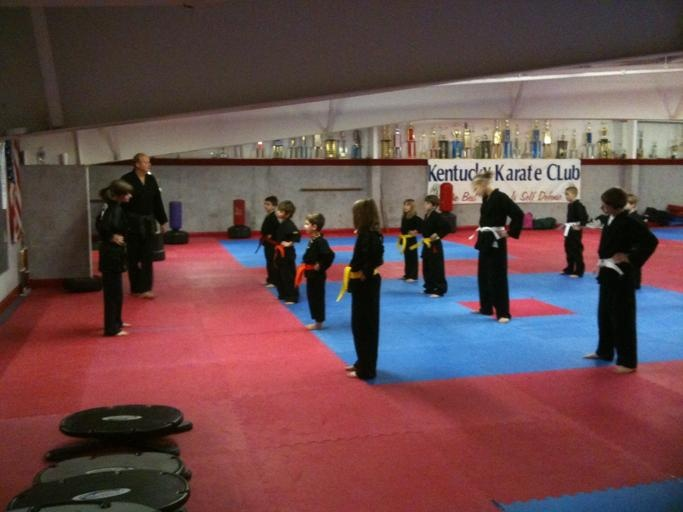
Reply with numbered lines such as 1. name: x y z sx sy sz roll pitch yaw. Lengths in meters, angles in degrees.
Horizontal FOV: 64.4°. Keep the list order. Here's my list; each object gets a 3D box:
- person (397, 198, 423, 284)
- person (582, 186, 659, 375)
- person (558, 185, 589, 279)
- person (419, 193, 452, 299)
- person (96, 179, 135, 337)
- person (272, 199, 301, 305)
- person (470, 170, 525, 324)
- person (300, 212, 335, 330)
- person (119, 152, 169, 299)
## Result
1. person: 1.247 -0.268 9.978 0.446 1.459 0.647 -4 5 -37
2. person: 2.800 0.226 5.436 0.418 1.812 0.689 2 0 6
3. person: 4.657 -0.486 10.724 0.544 1.770 0.664 1 -2 24
4. person: 1.572 -0.166 9.111 0.424 1.645 0.671 1 -2 -9
5. person: -2.761 0.019 6.596 0.451 1.771 0.639 -2 2 -20
6. person: -0.907 -0.033 8.336 0.508 1.507 0.542 -1 1 -32
7. person: 2.086 -0.120 7.424 0.540 1.967 0.911 -1 3 -15
8. person: -0.349 0.223 6.977 0.446 1.444 0.683 0 0 -23
9. person: -3.150 -0.406 8.344 0.623 2.194 0.969 14 13 38
